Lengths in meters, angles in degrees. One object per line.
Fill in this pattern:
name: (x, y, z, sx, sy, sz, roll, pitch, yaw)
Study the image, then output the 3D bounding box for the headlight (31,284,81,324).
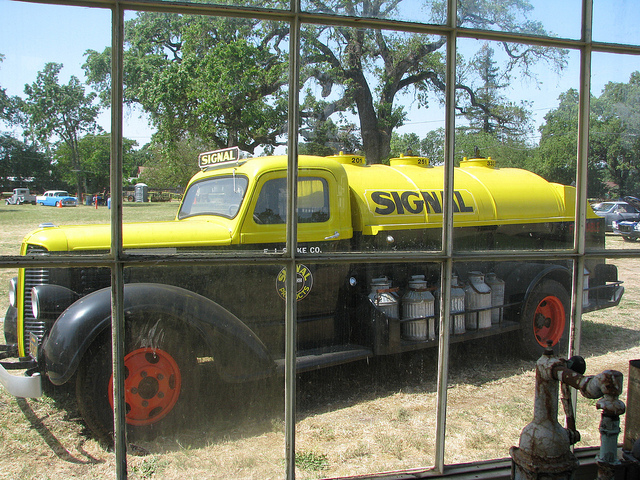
headlight: (-2.100, 0.484, 5.156, 0.465, 0.203, 0.197, -9, 15, -37)

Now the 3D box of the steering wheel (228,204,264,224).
steering wheel: (-0.633, -0.176, 5.544, 0.201, 0.051, 0.198, 32, -2, 1)

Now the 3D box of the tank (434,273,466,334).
tank: (1.296, 0.645, 6.332, 0.294, 0.545, 0.306, 3, -4, -26)

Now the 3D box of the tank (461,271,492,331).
tank: (1.564, 0.603, 6.413, 0.252, 0.580, 0.257, -1, 4, -23)

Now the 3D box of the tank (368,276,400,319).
tank: (0.648, 0.538, 6.131, 0.309, 0.562, 0.393, -5, -5, 40)

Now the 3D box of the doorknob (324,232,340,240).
doorknob: (0.129, -0.030, 5.803, 0.189, 0.055, 0.045, -11, -8, -18)

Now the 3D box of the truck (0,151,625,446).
truck: (-0.013, 0.302, 5.856, 5.368, 2.189, 1.083, -5, 6, -28)
